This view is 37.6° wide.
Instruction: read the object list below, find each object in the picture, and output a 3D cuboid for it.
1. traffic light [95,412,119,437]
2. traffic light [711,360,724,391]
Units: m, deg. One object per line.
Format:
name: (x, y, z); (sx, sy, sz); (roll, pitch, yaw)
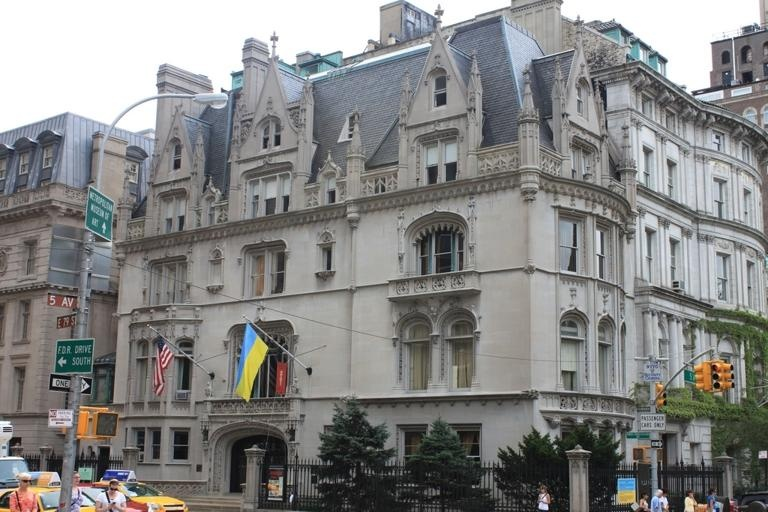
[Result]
traffic light: (-13.585, 8.185, 55.254); (1.092, 1.069, 0.392); (14, -21, -42)
traffic light: (18.122, 6.445, 62.022); (0.616, 1.392, 0.513); (-6, -20, 16)
